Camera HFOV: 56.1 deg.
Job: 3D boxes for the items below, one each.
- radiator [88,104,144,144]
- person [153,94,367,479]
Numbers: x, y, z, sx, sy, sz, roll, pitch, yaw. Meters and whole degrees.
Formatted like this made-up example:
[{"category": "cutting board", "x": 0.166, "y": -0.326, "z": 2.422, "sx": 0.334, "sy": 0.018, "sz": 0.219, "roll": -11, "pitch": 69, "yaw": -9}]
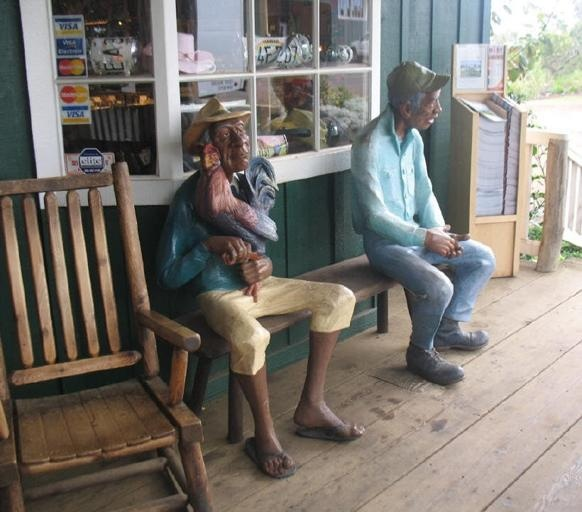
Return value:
[{"category": "radiator", "x": -0.728, "y": -0.553, "z": 2.299, "sx": 0.193, "sy": 0.134, "sz": 0.271, "roll": 14, "pitch": 23, "yaw": 40}, {"category": "person", "x": -0.150, "y": 0.086, "z": 2.293, "sx": 0.713, "sy": 1.402, "sz": 0.883, "roll": -8, "pitch": 13, "yaw": -29}]
